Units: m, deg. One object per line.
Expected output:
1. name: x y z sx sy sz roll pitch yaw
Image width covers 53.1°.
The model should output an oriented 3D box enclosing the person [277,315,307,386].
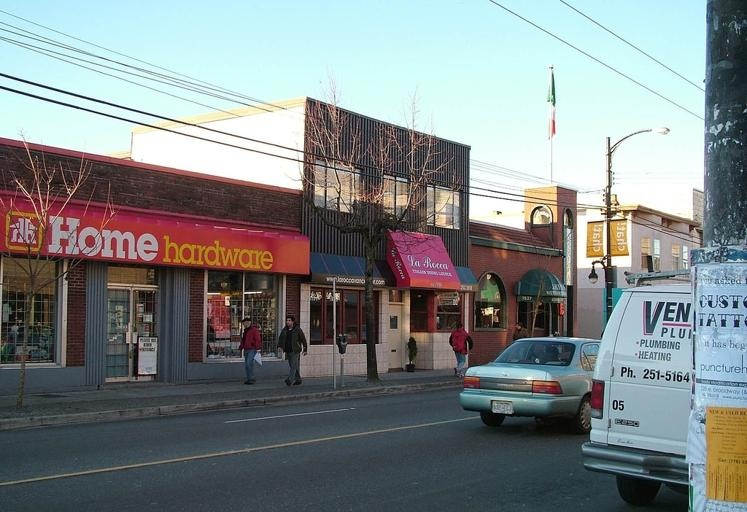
1. person: -2.458 2.898 23.061 0.792 2.176 0.937 -2 -7 -11

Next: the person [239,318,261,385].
1. person: -3.845 2.968 23.501 0.595 2.115 1.575 -2 -7 -10

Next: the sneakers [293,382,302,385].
1. sneakers: -2.306 3.893 22.860 0.157 0.132 0.360 -5 -8 15

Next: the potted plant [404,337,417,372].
1. potted plant: 1.600 3.990 30.404 0.517 1.403 1.780 -3 -8 3

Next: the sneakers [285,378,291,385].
1. sneakers: -2.548 3.822 22.617 0.198 0.200 0.338 -2 -8 -7

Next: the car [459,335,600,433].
1. car: 3.253 2.470 14.659 1.540 1.047 2.860 -2 -2 34
